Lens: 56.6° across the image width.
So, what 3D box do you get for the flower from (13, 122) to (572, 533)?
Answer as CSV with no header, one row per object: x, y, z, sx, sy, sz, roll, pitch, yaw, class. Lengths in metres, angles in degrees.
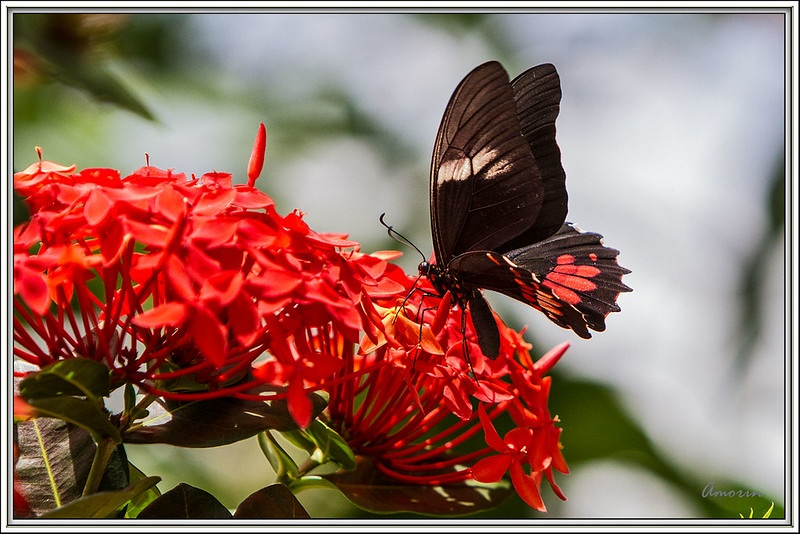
-0.232,0.156,1.550,1.099,0.885,0.466,2,10,-17,flower
